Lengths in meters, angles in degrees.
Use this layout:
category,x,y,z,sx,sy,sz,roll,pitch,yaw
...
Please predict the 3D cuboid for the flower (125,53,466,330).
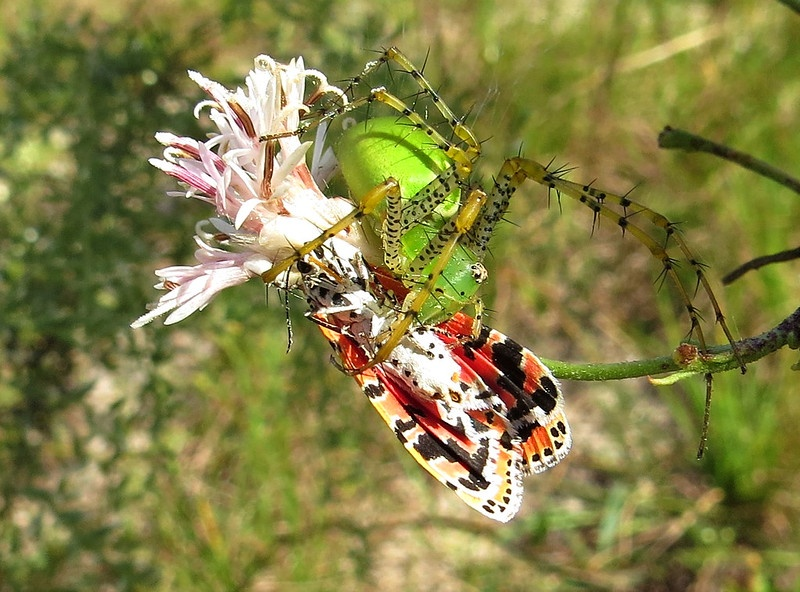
category,x,y,z,sx,sy,sz,roll,pitch,yaw
flower,-0.347,-0.443,3.010,1.034,0.546,1.074,-4,-68,-2
